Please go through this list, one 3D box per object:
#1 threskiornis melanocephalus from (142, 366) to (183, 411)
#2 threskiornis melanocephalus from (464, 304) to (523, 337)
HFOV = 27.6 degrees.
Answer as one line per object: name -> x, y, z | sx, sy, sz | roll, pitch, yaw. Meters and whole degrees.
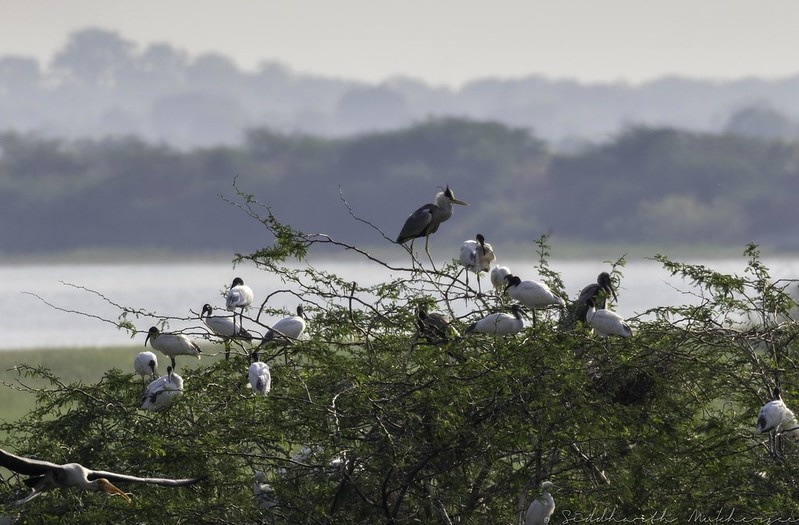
threskiornis melanocephalus -> -3.846, 2.082, 26.454 | 0.640, 0.683, 1.362 | 6, -9, -8
threskiornis melanocephalus -> 1.563, 0.981, 26.557 | 0.949, 0.530, 0.382 | -3, -1, 5
